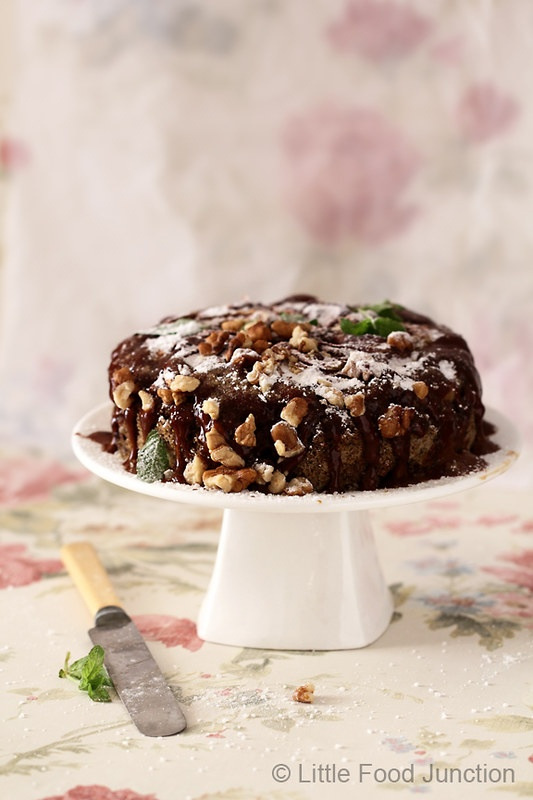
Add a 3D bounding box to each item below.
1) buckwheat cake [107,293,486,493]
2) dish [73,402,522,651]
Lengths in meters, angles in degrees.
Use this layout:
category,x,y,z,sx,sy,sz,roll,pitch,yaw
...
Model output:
category,x,y,z,sx,sy,sz,roll,pitch,yaw
buckwheat cake,0.032,-0.008,1.285,0.481,0.133,0.468,-12,18,-20
dish,0.049,0.160,1.298,0.443,0.166,0.407,1,9,3
